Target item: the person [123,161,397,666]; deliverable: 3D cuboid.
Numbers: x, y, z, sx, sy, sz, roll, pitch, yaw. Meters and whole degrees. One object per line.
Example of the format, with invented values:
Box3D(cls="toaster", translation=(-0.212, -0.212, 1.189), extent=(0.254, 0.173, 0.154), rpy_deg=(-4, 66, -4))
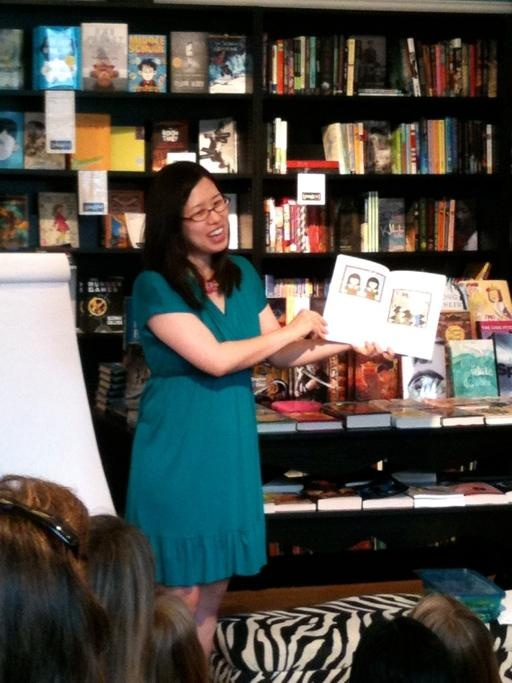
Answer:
Box3D(cls="person", translation=(-0.110, 0.081, 1.563), extent=(0.329, 1.034, 0.466), rpy_deg=(3, 9, 34))
